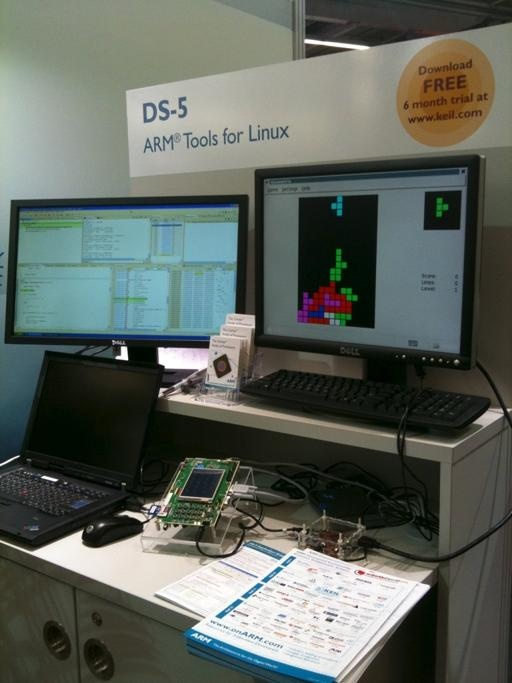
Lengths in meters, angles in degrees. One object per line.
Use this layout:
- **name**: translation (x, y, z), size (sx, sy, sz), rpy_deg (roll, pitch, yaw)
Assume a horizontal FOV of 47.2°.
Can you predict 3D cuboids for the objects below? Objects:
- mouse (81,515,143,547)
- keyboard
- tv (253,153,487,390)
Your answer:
- **mouse**: translation (-0.265, 0.349, 1.075), size (0.043, 0.030, 0.089), rpy_deg (14, 19, 36)
- **keyboard**: translation (0.208, 0.102, 1.046), size (0.272, 0.027, 0.108), rpy_deg (6, 24, 40)
- **tv**: translation (0.222, -0.134, 1.100), size (0.479, 0.355, 0.053), rpy_deg (7, 11, 37)
